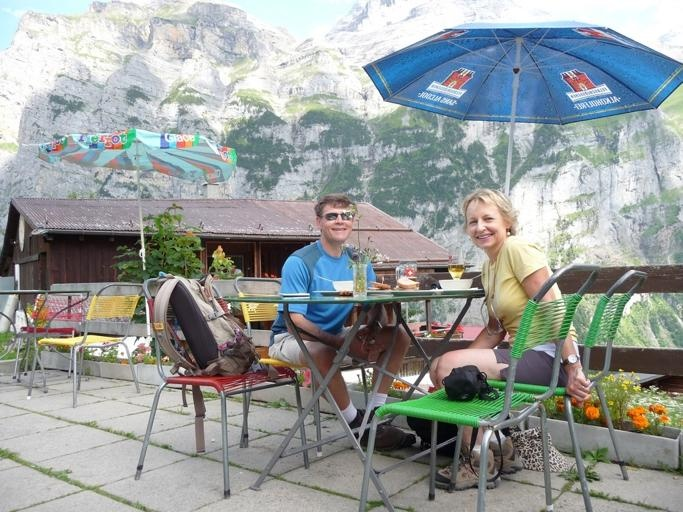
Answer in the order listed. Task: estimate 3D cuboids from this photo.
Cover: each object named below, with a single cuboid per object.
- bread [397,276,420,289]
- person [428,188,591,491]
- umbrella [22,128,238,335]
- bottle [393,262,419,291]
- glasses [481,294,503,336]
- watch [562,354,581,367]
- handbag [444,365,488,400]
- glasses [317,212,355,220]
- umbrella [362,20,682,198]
[{"bbox_3d":[0.458,0.182,4.351,0.156,0.076,0.196,-1,6,16],"label":"bread"},{"bbox_3d":[1.056,0.558,3.967,0.853,1.977,0.973,-6,8,-28],"label":"person"},{"bbox_3d":[-2.864,-0.604,9.372,2.427,2.163,2.449,-3,9,-12],"label":"umbrella"},{"bbox_3d":[0.481,0.139,4.399,0.197,0.231,0.140,0,-1,-8],"label":"bottle"},{"bbox_3d":[1.013,0.399,4.169,0.064,0.219,0.217,-4,-12,-10],"label":"glasses"},{"bbox_3d":[1.337,0.614,3.641,0.075,0.056,0.073,-3,-10,1],"label":"watch"},{"bbox_3d":[0.723,0.725,3.613,0.180,0.142,0.230,0,-5,-35],"label":"handbag"},{"bbox_3d":[-0.030,-0.295,4.569,0.232,0.073,0.061,-3,7,-2],"label":"glasses"},{"bbox_3d":[1.639,-1.650,5.567,1.991,1.176,1.897,-2,-26,29],"label":"umbrella"}]
